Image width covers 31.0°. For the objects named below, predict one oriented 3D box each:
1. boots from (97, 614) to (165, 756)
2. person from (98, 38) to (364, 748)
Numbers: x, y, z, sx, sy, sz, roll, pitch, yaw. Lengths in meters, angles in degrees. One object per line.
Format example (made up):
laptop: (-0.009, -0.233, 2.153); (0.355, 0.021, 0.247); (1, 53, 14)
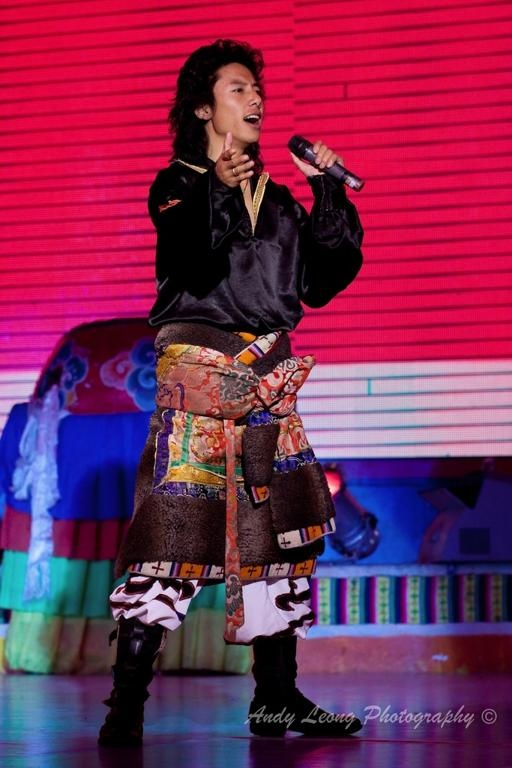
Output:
boots: (-0.262, 0.626, 1.950); (0.103, 0.247, 0.112); (0, -14, 10)
person: (0.025, -0.055, 2.060); (0.579, 1.671, 0.604); (6, -15, -13)
